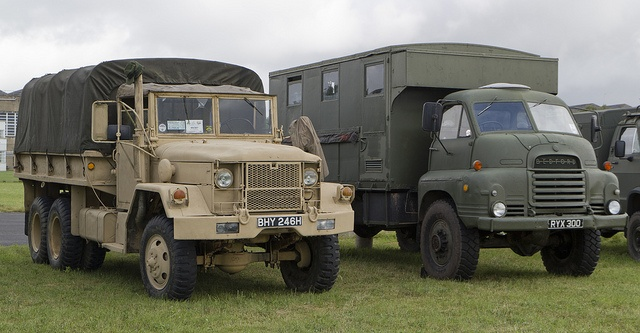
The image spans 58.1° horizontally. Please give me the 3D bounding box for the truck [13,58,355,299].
[{"bbox_3d":[-4.652,-0.009,16.544,5.650,5.922,11.397,1,0,-39],"label":"truck"}]
